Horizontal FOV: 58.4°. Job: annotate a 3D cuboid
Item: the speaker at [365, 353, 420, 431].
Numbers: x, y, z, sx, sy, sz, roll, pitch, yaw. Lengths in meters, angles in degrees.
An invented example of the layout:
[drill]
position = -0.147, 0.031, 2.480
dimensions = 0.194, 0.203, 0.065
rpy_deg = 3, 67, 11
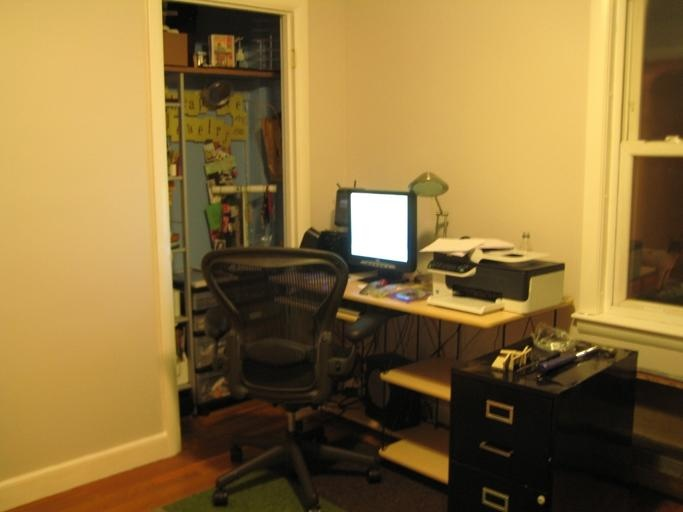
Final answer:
[speaker]
position = 0.267, 0.784, 3.597
dimensions = 0.252, 0.471, 0.425
rpy_deg = -4, 8, -33

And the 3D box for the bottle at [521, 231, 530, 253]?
[bottle]
position = 0.992, -0.083, 3.288
dimensions = 0.049, 0.089, 0.103
rpy_deg = 1, 14, 14

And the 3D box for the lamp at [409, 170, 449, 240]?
[lamp]
position = 0.517, -0.295, 3.567
dimensions = 0.211, 0.422, 0.418
rpy_deg = 1, 13, 11

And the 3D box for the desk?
[desk]
position = 0.476, 0.261, 3.356
dimensions = 0.850, 1.197, 1.558
rpy_deg = -4, 8, -37

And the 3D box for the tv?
[tv]
position = 0.242, -0.124, 3.548
dimensions = 0.481, 0.516, 0.225
rpy_deg = 5, 7, 40

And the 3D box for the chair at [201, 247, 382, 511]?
[chair]
position = -0.049, 0.501, 3.403
dimensions = 1.050, 1.606, 1.127
rpy_deg = 2, 8, 11
